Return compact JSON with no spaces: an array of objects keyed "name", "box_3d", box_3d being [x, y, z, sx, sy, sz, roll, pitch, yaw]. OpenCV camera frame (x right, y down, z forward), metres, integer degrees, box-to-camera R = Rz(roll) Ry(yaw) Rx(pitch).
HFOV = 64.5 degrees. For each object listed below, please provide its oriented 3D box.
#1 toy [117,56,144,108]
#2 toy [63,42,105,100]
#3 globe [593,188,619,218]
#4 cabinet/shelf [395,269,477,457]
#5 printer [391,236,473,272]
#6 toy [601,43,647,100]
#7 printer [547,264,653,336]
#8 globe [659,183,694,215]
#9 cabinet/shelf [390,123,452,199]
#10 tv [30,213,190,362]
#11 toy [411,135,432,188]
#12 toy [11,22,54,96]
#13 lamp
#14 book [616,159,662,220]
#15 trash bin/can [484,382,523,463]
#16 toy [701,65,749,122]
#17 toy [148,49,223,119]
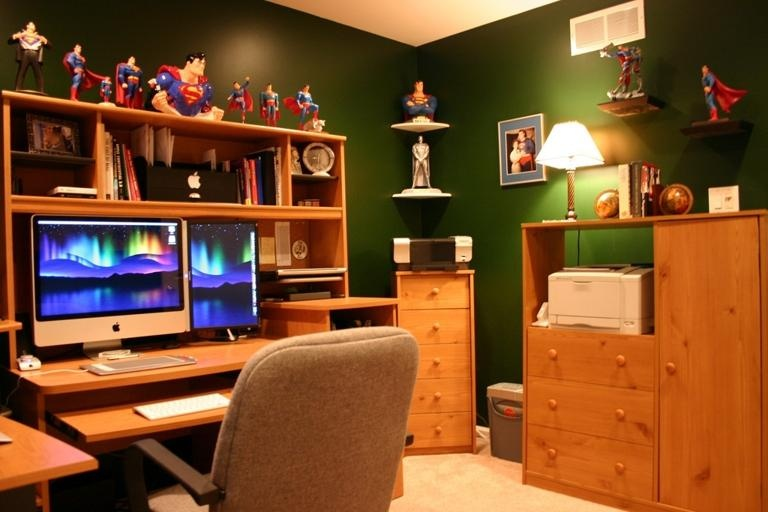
[{"name":"toy","box_3d":[-1.484,-0.991,3.532,0.139,0.276,0.067,-5,5,-22]},{"name":"toy","box_3d":[-1.688,-1.012,3.431,0.195,0.333,0.245,-5,5,-23]},{"name":"globe","box_3d":[1.419,-0.331,3.879,0.134,0.180,0.216,-1,5,17]},{"name":"cabinet/shelf","box_3d":[0.393,0.805,4.513,0.591,1.267,0.412,-3,-13,12]},{"name":"printer","box_3d":[0.349,-0.012,4.414,0.572,0.239,0.081,-3,5,-5]},{"name":"toy","box_3d":[1.580,-1.227,4.049,0.267,0.405,0.337,-1,5,20]},{"name":"printer","box_3d":[1.385,0.258,3.864,0.635,0.402,0.465,0,1,39]},{"name":"globe","box_3d":[1.749,-0.333,3.659,0.193,0.189,0.127,-3,-4,33]},{"name":"cabinet/shelf","box_3d":[0.296,-0.758,5.134,0.594,0.629,0.590,-1,-3,0]},{"name":"tv","box_3d":[-1.584,0.159,3.422,0.292,0.732,0.837,1,1,40]},{"name":"toy","box_3d":[0.296,-0.742,4.941,0.131,0.411,0.216,-2,5,8]},{"name":"toy","box_3d":[-1.970,-1.107,3.385,0.193,0.471,0.375,-6,5,-27]},{"name":"lamp","box_3d":[1.262,-0.567,4.130,0.401,0.641,0.525,-1,5,27]},{"name":"book","box_3d":[1.561,-0.400,3.703,0.251,0.329,0.212,-2,5,8]},{"name":"trash bin/can","box_3d":[0.866,1.172,4.317,0.253,0.498,0.214,-1,5,25]},{"name":"toy","box_3d":[2.085,-1.006,3.742,0.247,0.378,0.239,0,6,30]},{"name":"toy","box_3d":[-1.219,-1.018,3.735,0.229,0.441,0.458,14,9,43]}]
